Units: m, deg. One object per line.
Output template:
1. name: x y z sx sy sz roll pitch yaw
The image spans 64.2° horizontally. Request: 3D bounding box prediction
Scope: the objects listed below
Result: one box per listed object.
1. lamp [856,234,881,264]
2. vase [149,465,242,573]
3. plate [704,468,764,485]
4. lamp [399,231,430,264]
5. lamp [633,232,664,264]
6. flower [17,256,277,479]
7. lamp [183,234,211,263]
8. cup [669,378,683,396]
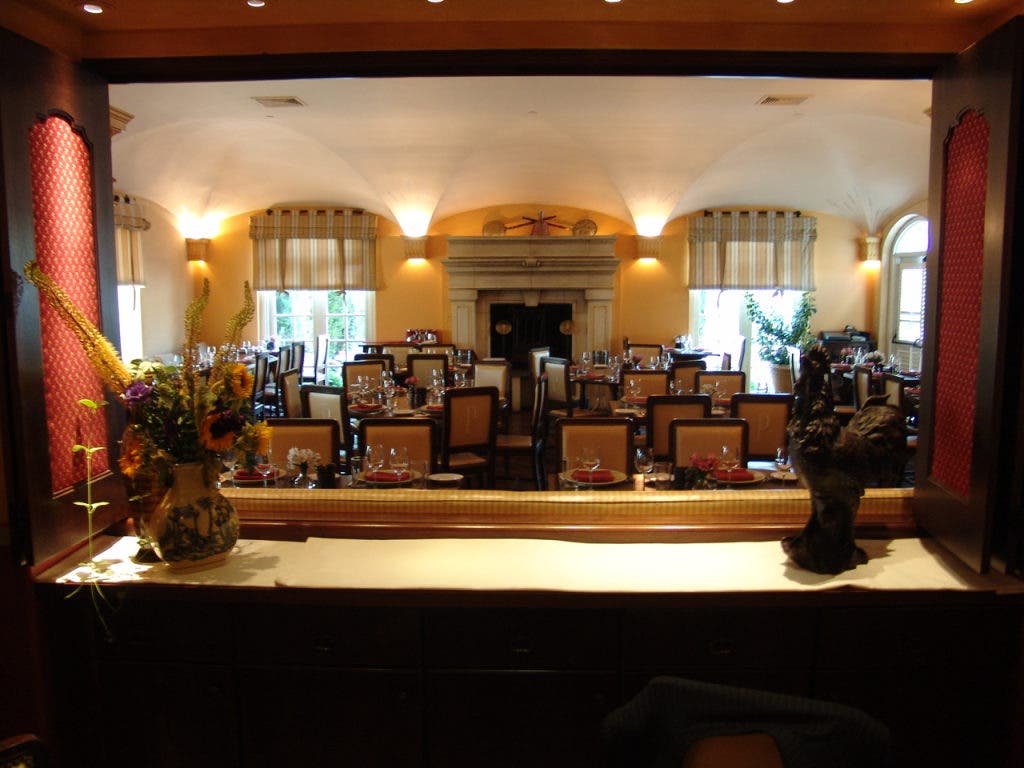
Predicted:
1. lamp: 5.394 -2.049 12.402 0.324 0.483 0.335 0 4 6
2. vase: -1.072 0.442 2.878 0.333 0.444 0.315 -2 -2 -17
3. plate: 1.126 0.469 4.092 0.158 0.044 0.168 0 6 8
4. lamp: -1.494 -2.070 12.364 0.376 0.370 0.353 0 7 -2
5. lamp: 2.055 -2.029 12.370 0.380 0.401 0.262 2 7 10
6. flower: -1.257 -0.121 3.281 0.729 1.176 0.777 -1 8 -4
7. lamp: -4.807 -2.044 12.480 0.328 0.377 0.350 -1 13 5
8. cup: 1.490 0.033 7.397 0.141 0.164 0.143 1 4 0
